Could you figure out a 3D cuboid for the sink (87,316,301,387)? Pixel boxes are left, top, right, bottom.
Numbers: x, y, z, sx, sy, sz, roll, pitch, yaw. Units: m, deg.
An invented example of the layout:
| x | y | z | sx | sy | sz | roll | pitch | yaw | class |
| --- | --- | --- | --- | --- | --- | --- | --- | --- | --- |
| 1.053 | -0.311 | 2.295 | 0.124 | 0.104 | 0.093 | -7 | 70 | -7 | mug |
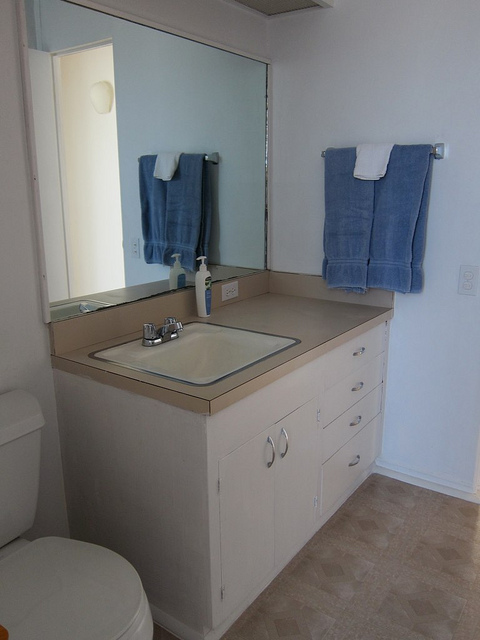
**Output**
| x | y | z | sx | sy | sz | roll | pitch | yaw | class |
| --- | --- | --- | --- | --- | --- | --- | --- | --- | --- |
| -0.124 | 0.107 | 1.642 | 0.489 | 0.188 | 0.600 | 7 | 13 | 34 | sink |
